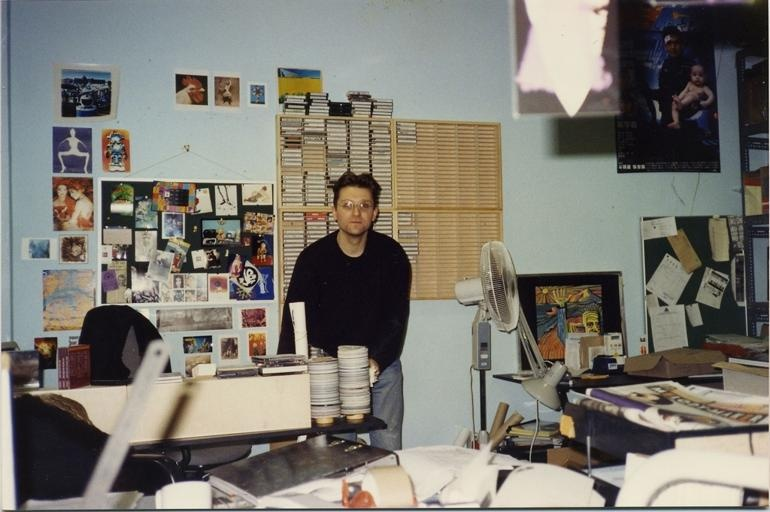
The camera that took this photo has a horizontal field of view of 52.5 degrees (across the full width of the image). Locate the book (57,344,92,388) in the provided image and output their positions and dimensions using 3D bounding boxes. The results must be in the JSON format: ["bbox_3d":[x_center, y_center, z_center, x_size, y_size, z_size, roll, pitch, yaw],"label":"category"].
[{"bbox_3d":[-1.812,0.643,4.545,0.198,0.234,0.125,-5,5,-38],"label":"book"}]

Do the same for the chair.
[{"bbox_3d":[-1.590,1.034,5.869,1.182,1.457,1.159,3,-8,-14],"label":"chair"}]

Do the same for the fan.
[{"bbox_3d":[0.748,0.638,5.673,0.386,1.529,0.873,-2,4,-3],"label":"fan"}]

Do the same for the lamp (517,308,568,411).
[{"bbox_3d":[1.099,0.688,5.441,0.335,0.751,0.325,3,34,16],"label":"lamp"}]

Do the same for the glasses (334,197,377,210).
[{"bbox_3d":[-0.212,-0.354,5.445,0.259,0.070,0.096,-3,4,-6],"label":"glasses"}]

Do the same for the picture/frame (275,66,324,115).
[{"bbox_3d":[-0.646,-1.337,5.900,0.308,0.315,0.072,1,0,-7],"label":"picture/frame"}]

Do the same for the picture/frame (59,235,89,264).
[{"bbox_3d":[-2.331,-0.039,5.792,0.197,0.219,0.021,3,-5,-14],"label":"picture/frame"}]

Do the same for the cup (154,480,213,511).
[{"bbox_3d":[-0.904,1.081,3.533,0.158,0.100,0.157,2,-13,0],"label":"cup"}]

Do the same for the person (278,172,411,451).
[{"bbox_3d":[-0.286,0.656,5.571,0.959,2.397,1.076,-1,17,-3],"label":"person"}]

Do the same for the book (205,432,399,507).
[{"bbox_3d":[-0.423,1.084,3.930,0.502,0.119,0.490,-6,8,-34],"label":"book"}]

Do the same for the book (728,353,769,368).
[{"bbox_3d":[2.029,0.582,4.321,0.249,0.071,0.246,0,-2,21],"label":"book"}]

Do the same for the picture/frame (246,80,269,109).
[{"bbox_3d":[-0.995,-1.237,6.004,0.209,0.244,0.024,-2,4,-7],"label":"picture/frame"}]

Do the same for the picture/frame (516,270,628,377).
[{"bbox_3d":[1.455,0.565,6.186,0.802,0.779,0.039,1,-9,-10],"label":"picture/frame"}]

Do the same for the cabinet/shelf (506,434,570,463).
[{"bbox_3d":[1.094,1.406,5.676,0.498,0.157,0.375,1,-4,-3],"label":"cabinet/shelf"}]

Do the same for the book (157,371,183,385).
[{"bbox_3d":[-1.271,0.720,4.611,0.146,0.043,0.163,-3,5,-9],"label":"book"}]

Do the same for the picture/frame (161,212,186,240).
[{"bbox_3d":[-1.624,-0.226,5.924,0.204,0.236,0.011,1,2,-9],"label":"picture/frame"}]
